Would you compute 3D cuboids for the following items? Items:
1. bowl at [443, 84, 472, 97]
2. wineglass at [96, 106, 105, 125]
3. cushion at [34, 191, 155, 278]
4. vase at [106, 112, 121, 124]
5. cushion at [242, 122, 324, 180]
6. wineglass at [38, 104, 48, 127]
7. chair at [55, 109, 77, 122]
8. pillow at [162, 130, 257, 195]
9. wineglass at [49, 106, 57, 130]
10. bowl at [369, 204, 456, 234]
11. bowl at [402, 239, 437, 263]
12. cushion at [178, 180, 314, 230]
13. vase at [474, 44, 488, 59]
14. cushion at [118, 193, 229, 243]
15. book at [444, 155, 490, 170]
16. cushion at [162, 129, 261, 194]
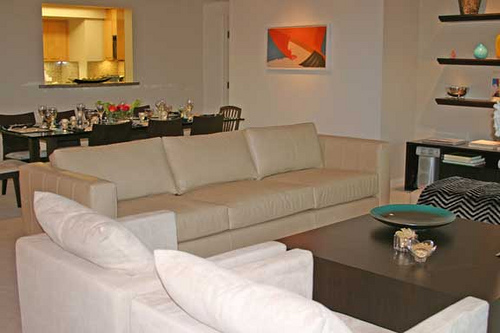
[{"bbox_3d":[3.050,-1.132,5.584,0.268,0.116,0.269,0,5,0],"label":"bowl"},{"bbox_3d":[-2.131,-0.753,5.407,0.104,0.238,0.243,-6,10,-27],"label":"wineglass"},{"bbox_3d":[-0.850,0.369,1.962,0.615,0.234,0.297,21,-4,18],"label":"cushion"},{"bbox_3d":[-1.900,-0.685,5.239,0.147,0.146,0.065,19,2,-38],"label":"vase"},{"bbox_3d":[0.351,-0.175,4.230,0.999,0.592,0.264,-10,-1,-33],"label":"cushion"},{"bbox_3d":[-3.024,-0.752,5.504,0.107,0.300,1.129,-7,10,-28],"label":"wineglass"},{"bbox_3d":[-2.949,-0.834,6.044,0.225,0.325,0.256,-4,21,-23],"label":"chair"},{"bbox_3d":[-0.385,-0.058,3.666,0.915,0.595,0.218,-12,-1,-36],"label":"pillow"},{"bbox_3d":[-2.639,-0.640,5.030,0.099,0.275,0.409,-6,10,-27],"label":"wineglass"},{"bbox_3d":[1.237,0.407,2.841,0.562,0.137,0.597,-2,6,0],"label":"bowl"},{"bbox_3d":[1.080,0.548,2.375,0.231,0.106,0.237,11,-6,1],"label":"bowl"},{"bbox_3d":[0.000,0.293,3.506,0.728,0.175,0.520,-7,9,-43],"label":"cushion"},{"bbox_3d":[3.237,-1.584,5.266,0.196,0.213,0.194,-4,4,-34],"label":"vase"},{"bbox_3d":[-0.519,0.384,3.065,0.487,0.194,0.515,-7,12,-42],"label":"cushion"},{"bbox_3d":[2.997,-0.054,5.178,0.542,0.194,0.169,4,11,31],"label":"book"},{"bbox_3d":[-0.385,-0.055,3.665,0.939,0.582,0.226,-15,-1,-36],"label":"cushion"}]
